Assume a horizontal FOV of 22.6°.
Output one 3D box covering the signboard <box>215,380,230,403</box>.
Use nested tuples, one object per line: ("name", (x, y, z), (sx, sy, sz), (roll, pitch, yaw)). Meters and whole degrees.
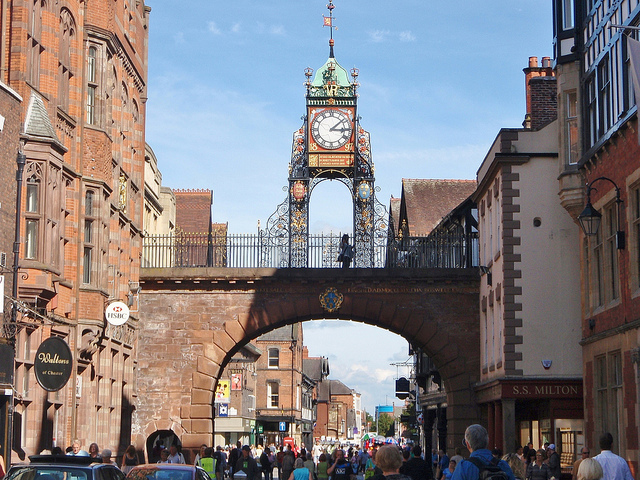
("signboard", (-5.206, 7.893, 84.719), (0.664, 1.485, 1.043), (1, -18, -2))

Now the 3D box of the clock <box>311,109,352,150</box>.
("clock", (0.411, -4.332, 63.143), (1.307, 1.542, 0.103), (-1, -4, 1))

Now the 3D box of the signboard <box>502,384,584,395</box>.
("signboard", (7.602, 5.043, 54.638), (2.732, 0.531, 0.169), (-5, -18, 14))

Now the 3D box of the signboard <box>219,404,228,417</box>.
("signboard", (-5.076, 8.710, 82.895), (0.565, 0.887, 0.081), (-1, -7, 6))

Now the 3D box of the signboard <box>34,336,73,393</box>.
("signboard", (-8.000, 3.592, 47.209), (1.521, 2.154, 0.235), (-2, -13, 1))
